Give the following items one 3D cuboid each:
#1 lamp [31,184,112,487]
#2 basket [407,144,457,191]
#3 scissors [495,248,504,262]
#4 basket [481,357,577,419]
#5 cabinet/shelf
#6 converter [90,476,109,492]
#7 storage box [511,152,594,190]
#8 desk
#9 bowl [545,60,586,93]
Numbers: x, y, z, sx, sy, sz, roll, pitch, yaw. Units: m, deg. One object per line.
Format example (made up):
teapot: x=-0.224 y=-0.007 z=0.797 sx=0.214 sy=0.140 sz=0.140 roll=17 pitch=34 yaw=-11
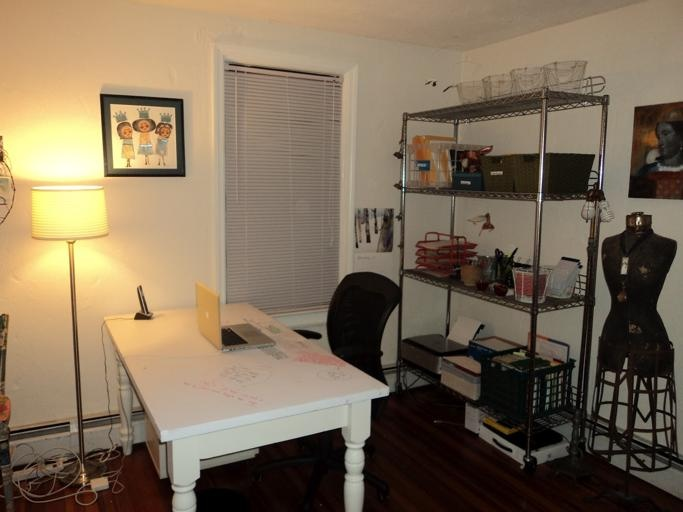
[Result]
lamp: x=-1.650 y=0.482 z=3.312 sx=0.402 sy=1.824 sz=0.669 roll=-4 pitch=15 yaw=-19
basket: x=0.660 y=-0.698 z=4.061 sx=0.347 sy=0.340 sz=0.367 roll=-6 pitch=11 yaw=-35
scissors: x=1.201 y=-0.013 z=3.945 sx=0.082 sy=0.109 sz=0.108 roll=0 pitch=-12 yaw=9
basket: x=1.290 y=0.869 z=3.566 sx=0.473 sy=0.310 sz=0.469 roll=-6 pitch=11 yaw=-33
cabinet/shelf: x=1.160 y=0.016 z=3.977 sx=0.831 sy=2.402 sz=1.816 roll=-9 pitch=17 yaw=-33
converter: x=-1.509 y=1.414 z=3.262 sx=0.070 sy=0.019 sz=0.077 roll=-2 pitch=14 yaw=-26
storage box: x=1.383 y=-0.506 z=3.397 sx=0.406 sy=0.212 sz=0.276 roll=0 pitch=2 yaw=-31
desk: x=-0.494 y=0.170 z=2.671 sx=1.007 sy=0.820 sz=1.705 roll=-7 pitch=17 yaw=-30
bowl: x=1.524 y=-1.219 z=3.637 sx=0.285 sy=0.228 sz=0.303 roll=0 pitch=10 yaw=0
